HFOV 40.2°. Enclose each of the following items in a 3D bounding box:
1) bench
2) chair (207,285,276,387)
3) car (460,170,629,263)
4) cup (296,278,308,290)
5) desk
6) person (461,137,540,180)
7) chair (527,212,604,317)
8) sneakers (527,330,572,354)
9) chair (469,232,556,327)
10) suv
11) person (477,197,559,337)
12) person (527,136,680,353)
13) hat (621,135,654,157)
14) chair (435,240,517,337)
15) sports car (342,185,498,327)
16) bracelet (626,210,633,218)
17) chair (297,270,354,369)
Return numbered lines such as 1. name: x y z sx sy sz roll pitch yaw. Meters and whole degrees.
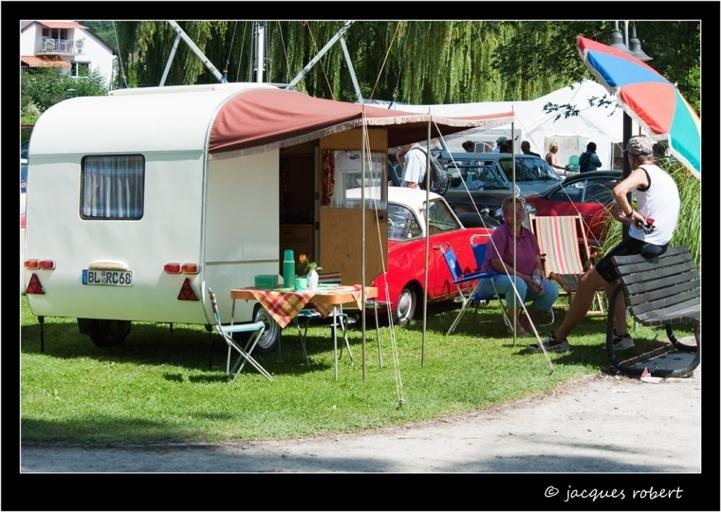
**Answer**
1. bench: 3.855 0.658 12.063 1.027 1.298 1.867 4 5 43
2. chair: -1.451 0.967 12.062 0.709 1.220 0.684 -5 3 -14
3. car: 4.350 -0.735 19.164 2.919 1.404 1.772 7 -5 19
4. cup: -0.736 0.334 12.186 0.123 0.142 0.130 0 -4 0
5. desk: -0.730 0.891 12.348 1.763 1.068 1.239 -4 1 9
6. person: 2.990 -2.379 22.262 1.085 1.019 1.851 -5 9 -40
7. chair: 3.051 0.023 14.893 0.800 1.277 1.243 0 6 -5
8. sneakers: 2.402 1.105 12.796 0.574 0.277 0.226 2 -2 5
9. chair: 2.175 0.134 13.721 0.970 1.672 1.122 3 8 -15
10. suv: 2.373 -1.585 20.795 2.976 1.537 1.843 1 6 12
11. person: 2.187 0.108 13.702 1.063 1.828 1.117 4 2 -3
12. person: 3.114 -0.110 12.209 0.971 2.200 1.317 -4 1 -30
13. hat: 3.394 -1.337 12.078 0.219 0.267 0.292 2 18 13
14. chair: 1.706 0.425 13.892 0.859 1.057 0.835 -12 -11 -12
15. sports car: 0.872 -0.083 14.722 1.448 1.185 2.444 4 7 39
16. bracelet: 3.145 -0.497 11.631 0.067 0.056 0.132 -3 2 22
17. chair: -0.540 0.711 12.195 0.518 1.114 0.703 -2 -7 7
